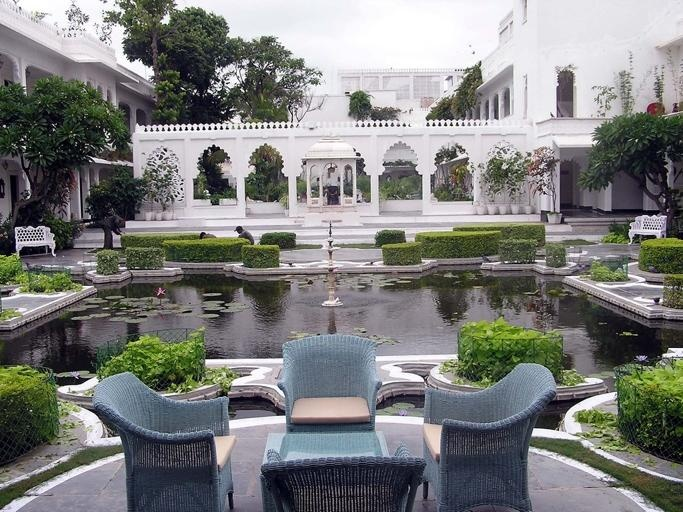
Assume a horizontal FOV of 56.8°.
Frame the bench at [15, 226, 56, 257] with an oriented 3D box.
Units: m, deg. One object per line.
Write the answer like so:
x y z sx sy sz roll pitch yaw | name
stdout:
-9.680 -0.478 19.987 0.370 0.771 0.950 10 10 43 | bench

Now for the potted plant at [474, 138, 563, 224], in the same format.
7.429 -3.376 26.407 2.170 2.993 3.231 -4 6 -30 | potted plant

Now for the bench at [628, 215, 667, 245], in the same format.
9.477 -0.804 19.561 1.168 0.865 0.862 3 6 39 | bench

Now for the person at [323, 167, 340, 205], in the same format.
-0.376 -2.981 26.449 0.748 1.984 0.220 -2 31 -2 | person

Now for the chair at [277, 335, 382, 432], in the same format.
-0.097 1.100 5.416 0.842 0.863 0.713 0 2 -2 | chair

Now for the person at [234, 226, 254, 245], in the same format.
-2.708 -0.620 17.861 0.392 0.466 1.216 -2 5 -9 | person

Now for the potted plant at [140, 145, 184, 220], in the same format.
-7.730 -3.185 27.367 1.267 3.122 1.819 1 5 17 | potted plant
